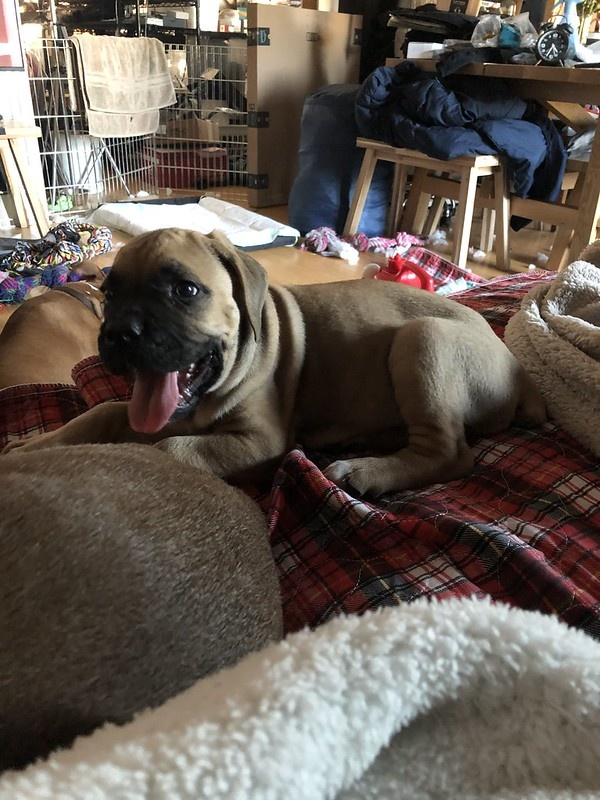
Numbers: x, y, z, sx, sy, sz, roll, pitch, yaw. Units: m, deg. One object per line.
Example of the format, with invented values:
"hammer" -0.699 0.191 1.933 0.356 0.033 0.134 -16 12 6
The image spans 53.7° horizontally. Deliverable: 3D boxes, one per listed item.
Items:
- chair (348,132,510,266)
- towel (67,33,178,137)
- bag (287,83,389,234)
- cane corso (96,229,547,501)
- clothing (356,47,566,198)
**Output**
"chair" 0.659 -1.028 3.026 0.779 0.609 0.608 37 39 28
"towel" -1.066 -1.939 3.700 0.703 0.542 0.107 12 27 21
"bag" 0.210 -1.569 3.566 0.666 0.895 0.545 1 52 13
"cane corso" 0.041 -0.066 1.047 0.781 0.338 0.443 -1 -2 -7
"clothing" 0.722 -1.320 2.795 0.985 0.339 0.733 22 27 14
